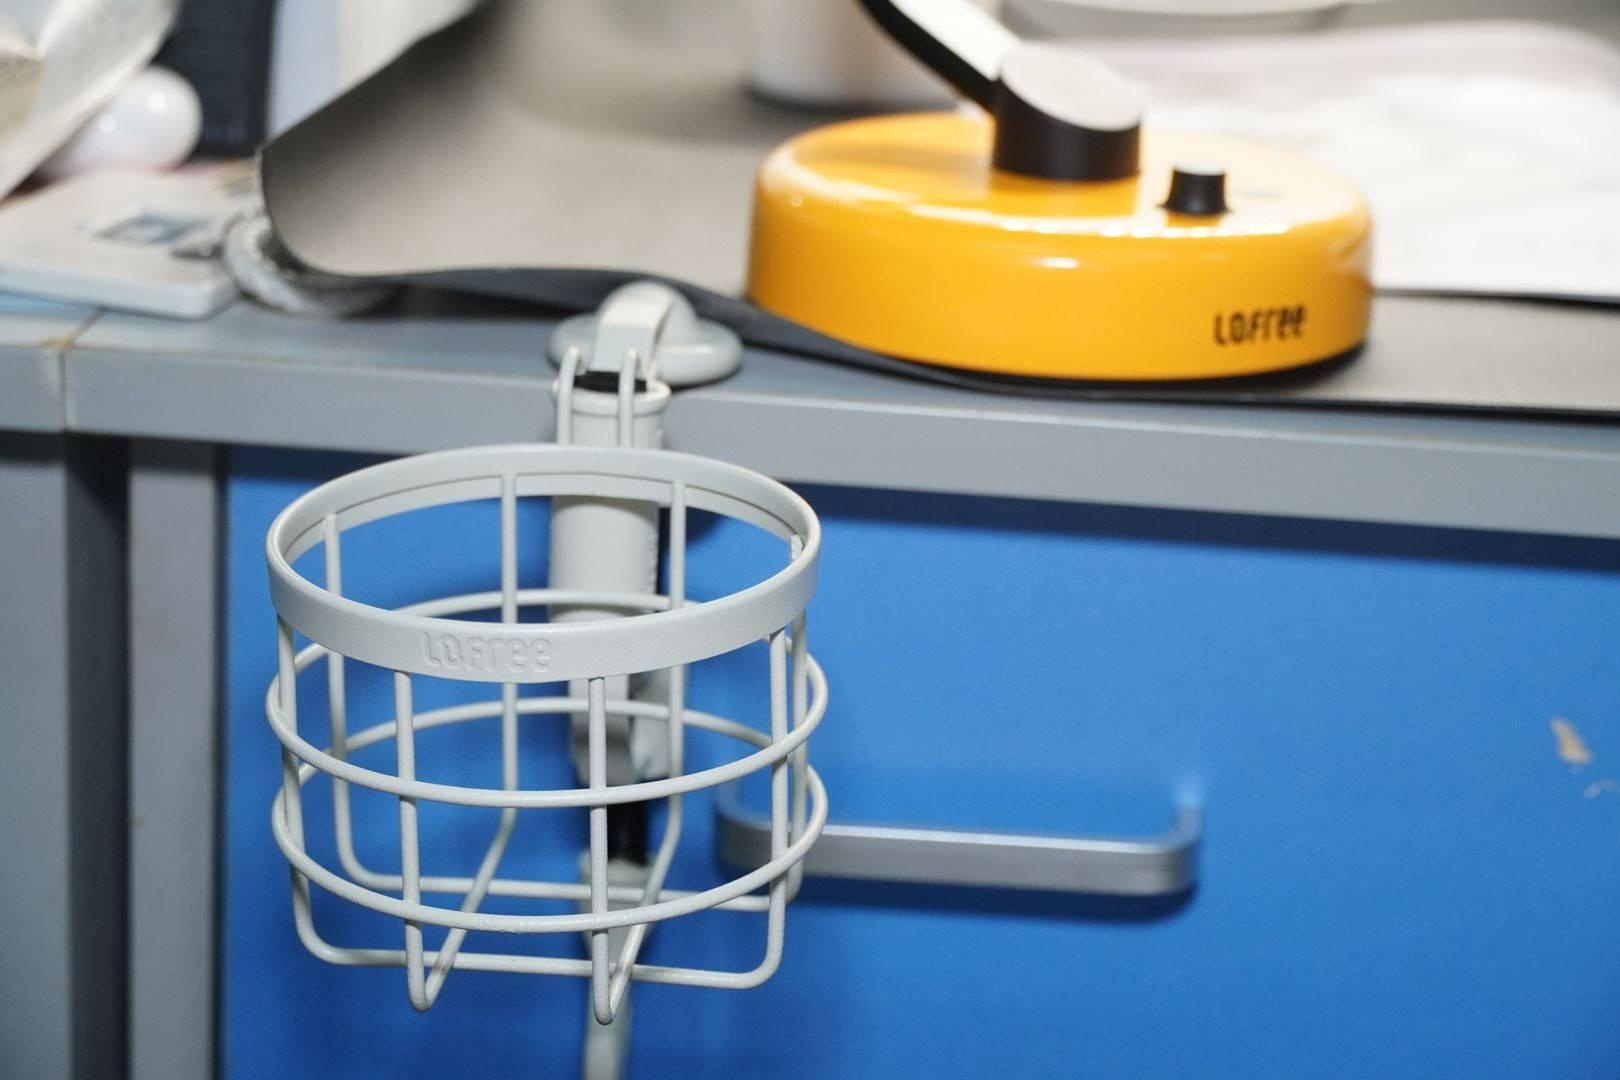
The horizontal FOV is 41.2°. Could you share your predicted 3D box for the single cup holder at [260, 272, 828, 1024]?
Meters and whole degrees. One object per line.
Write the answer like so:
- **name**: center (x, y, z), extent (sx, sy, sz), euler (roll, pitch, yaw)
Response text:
- **single cup holder**: center (-0.130, 0.035, 1.140), extent (0.236, 0.333, 0.361), euler (4, 16, 6)
